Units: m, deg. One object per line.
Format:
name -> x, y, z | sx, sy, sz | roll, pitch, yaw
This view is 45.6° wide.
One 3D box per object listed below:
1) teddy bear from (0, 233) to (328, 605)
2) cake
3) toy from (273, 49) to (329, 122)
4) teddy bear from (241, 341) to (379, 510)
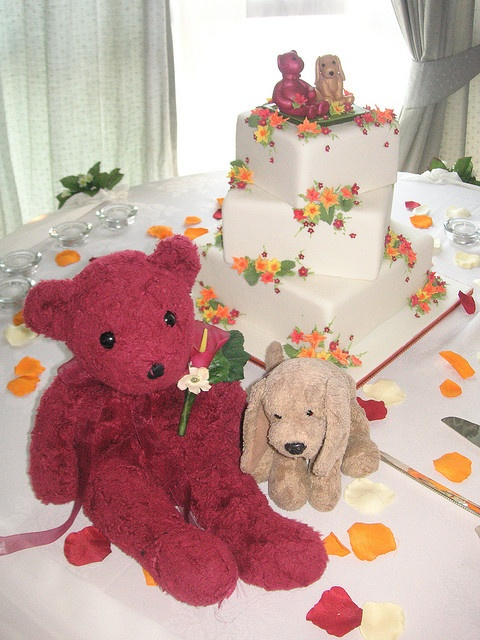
teddy bear -> -0.241, 0.183, 1.469 | 0.679, 0.667, 0.900 | -15, 37, -27
cake -> 0.320, -0.347, 2.189 | 0.919, 0.746, 0.846 | 11, 42, 14
toy -> 0.217, -0.792, 1.923 | 0.172, 0.192, 0.240 | -2, 34, -11
teddy bear -> 0.225, 0.234, 1.552 | 0.347, 0.287, 0.443 | -1, 35, 18
